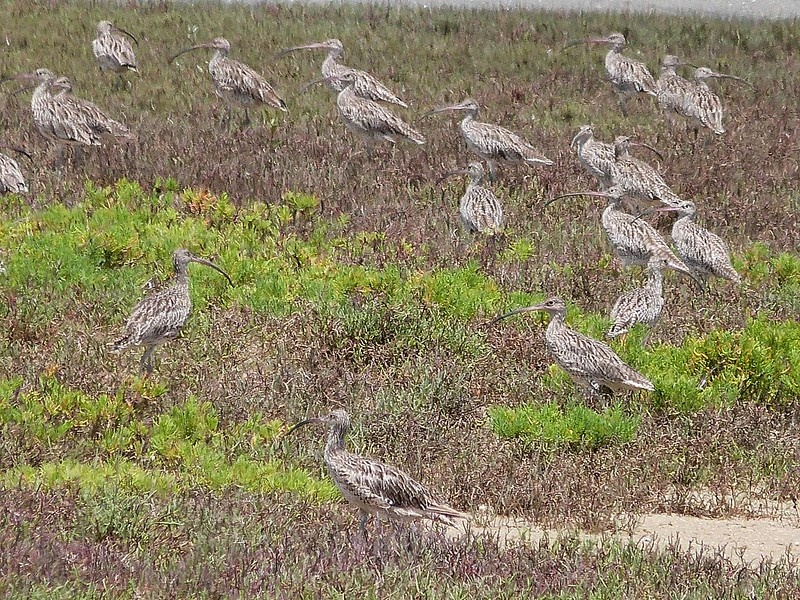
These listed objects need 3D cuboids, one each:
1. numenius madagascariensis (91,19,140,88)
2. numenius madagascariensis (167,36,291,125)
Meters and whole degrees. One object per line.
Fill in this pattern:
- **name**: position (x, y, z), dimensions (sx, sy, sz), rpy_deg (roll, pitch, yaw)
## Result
- **numenius madagascariensis**: position (-6.144, -5.321, 24.798), dimensions (0.798, 1.429, 1.931), rpy_deg (-2, 10, -39)
- **numenius madagascariensis**: position (-3.189, -4.012, 21.171), dimensions (2.076, 1.662, 0.704), rpy_deg (1, 7, 1)
